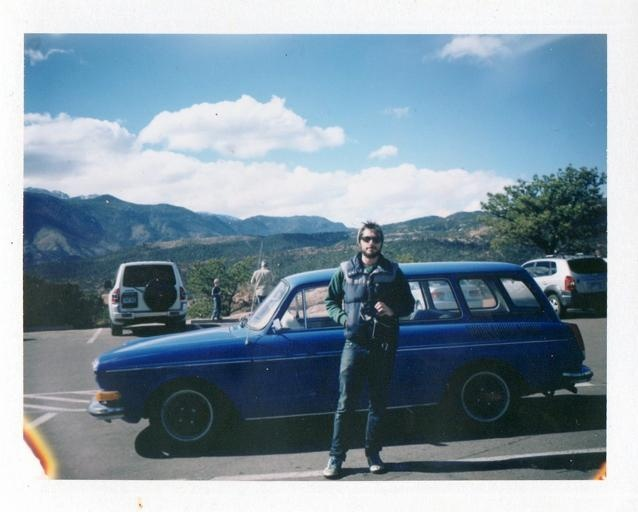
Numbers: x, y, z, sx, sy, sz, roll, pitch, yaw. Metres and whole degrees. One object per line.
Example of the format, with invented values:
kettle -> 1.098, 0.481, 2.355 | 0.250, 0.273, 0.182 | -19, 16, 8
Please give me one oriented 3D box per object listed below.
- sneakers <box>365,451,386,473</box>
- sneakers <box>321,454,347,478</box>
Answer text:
sneakers -> 0.612, 2.231, 6.232 | 0.144, 0.186, 0.261 | 1, -22, -1
sneakers -> 0.148, 2.289, 6.256 | 0.132, 0.151, 0.334 | 5, 3, -20
